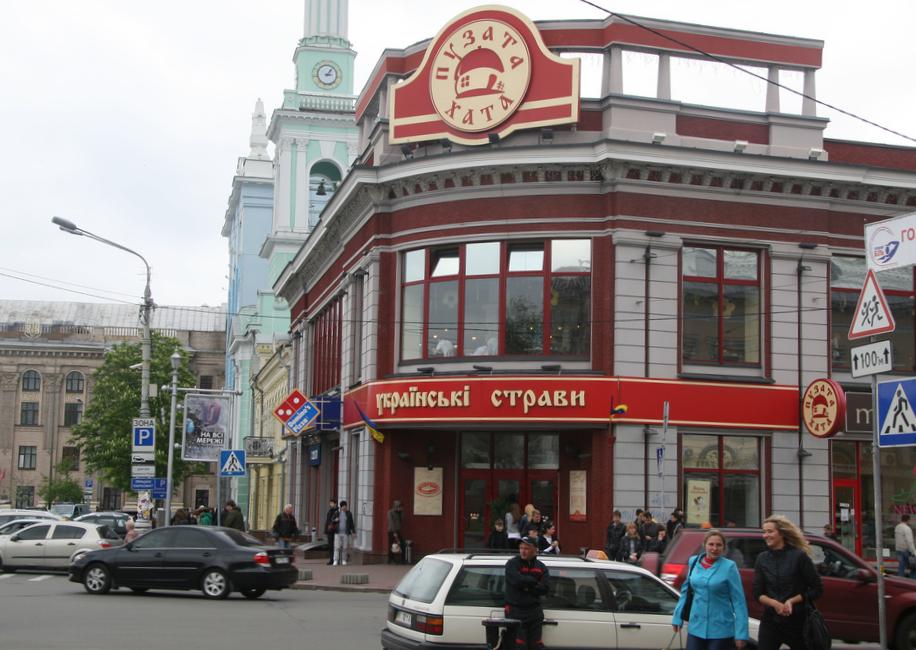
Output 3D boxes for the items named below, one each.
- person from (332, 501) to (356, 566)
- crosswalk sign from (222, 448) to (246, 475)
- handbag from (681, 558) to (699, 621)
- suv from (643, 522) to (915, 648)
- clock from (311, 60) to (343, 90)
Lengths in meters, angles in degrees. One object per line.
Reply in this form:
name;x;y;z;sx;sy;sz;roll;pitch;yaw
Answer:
person;-3.835;6.942;45.787;0.700;1.794;0.733;-2;1;-1
crosswalk sign;-7.661;4.744;46.869;0.794;0.808;1.308;-2;0;-10
handbag;4.192;4.844;25.313;0.302;0.897;0.645;1;-7;0
suv;7.061;5.840;30.541;5.585;2.133;2.575;0;-4;-7
clock;-7.762;-14.545;80.905;1.684;1.669;0.235;6;24;-5
